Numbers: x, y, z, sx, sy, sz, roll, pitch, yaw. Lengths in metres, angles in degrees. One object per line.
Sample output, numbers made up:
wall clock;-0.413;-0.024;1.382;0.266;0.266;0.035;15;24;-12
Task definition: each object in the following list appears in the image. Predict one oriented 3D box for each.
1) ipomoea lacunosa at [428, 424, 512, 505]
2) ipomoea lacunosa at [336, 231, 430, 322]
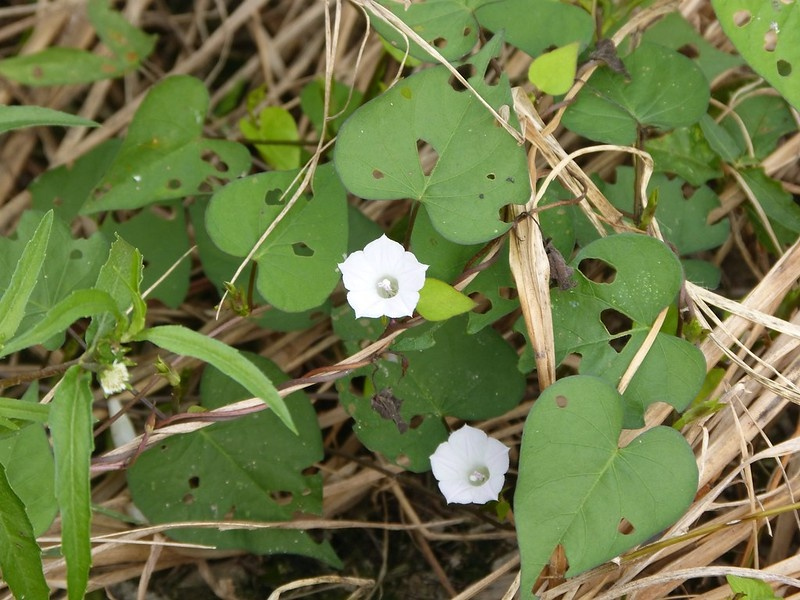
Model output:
ipomoea lacunosa;0.140;0.341;1.846;0.158;0.101;0.150;3;58;-1
ipomoea lacunosa;-0.034;-0.036;1.738;0.157;0.113;0.181;-12;60;-10
